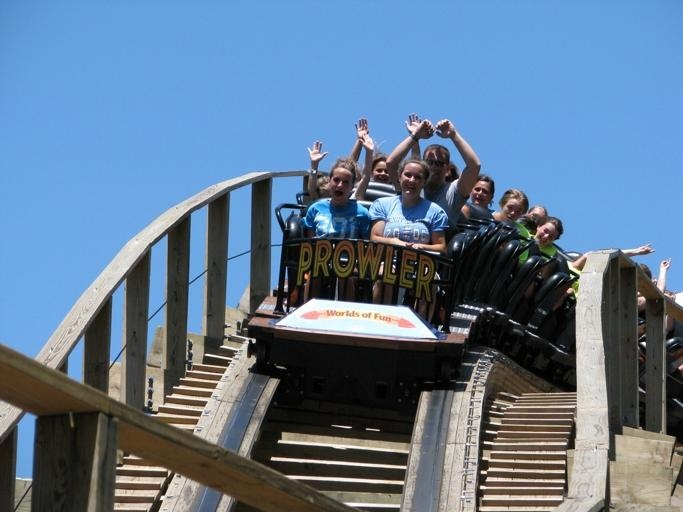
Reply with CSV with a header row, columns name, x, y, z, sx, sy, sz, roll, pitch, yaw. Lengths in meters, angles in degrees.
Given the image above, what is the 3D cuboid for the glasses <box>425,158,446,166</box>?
name,x,y,z,sx,sy,sz,roll,pitch,yaw
glasses,0.797,-0.811,14.123,0.111,0.032,0.113,3,-3,11
